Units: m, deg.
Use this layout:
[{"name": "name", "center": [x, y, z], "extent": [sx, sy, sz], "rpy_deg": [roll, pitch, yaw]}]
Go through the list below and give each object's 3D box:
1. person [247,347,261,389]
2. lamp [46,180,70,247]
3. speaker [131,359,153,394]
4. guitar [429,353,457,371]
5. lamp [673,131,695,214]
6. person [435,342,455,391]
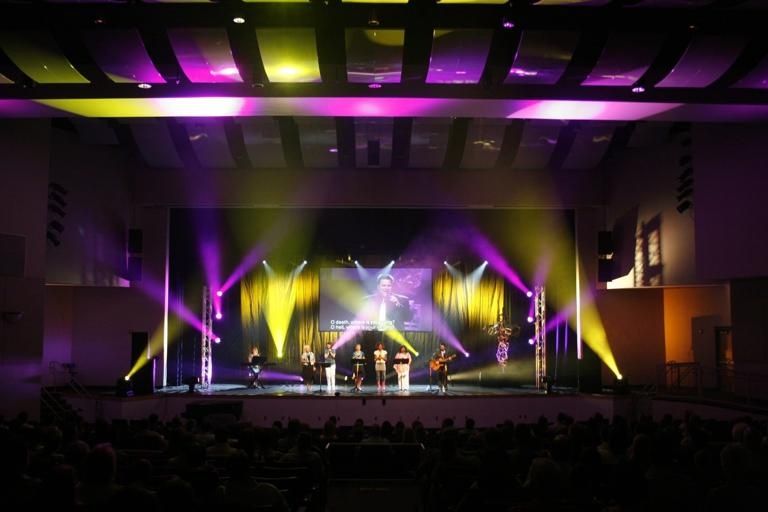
[{"name": "person", "center": [-4.195, 3.548, 21.141], "extent": [0.450, 1.415, 1.561], "rpy_deg": [4, -14, -11]}, {"name": "lamp", "center": [-9.515, -1.207, 18.879], "extent": [0.445, 1.779, 0.896], "rpy_deg": [5, -14, -15]}, {"name": "speaker", "center": [-7.097, 3.583, 19.162], "extent": [0.626, 0.982, 0.364], "rpy_deg": [7, -15, -21]}, {"name": "guitar", "center": [1.818, 3.276, 20.051], "extent": [0.879, 0.410, 0.144], "rpy_deg": [-21, -24, 2]}, {"name": "lamp", "center": [8.258, -2.403, 17.963], "extent": [0.357, 2.362, 1.040], "rpy_deg": [-2, -14, 13]}, {"name": "person", "center": [1.793, 3.425, 19.997], "extent": [0.646, 1.326, 0.226], "rpy_deg": [4, -6, -30]}]
